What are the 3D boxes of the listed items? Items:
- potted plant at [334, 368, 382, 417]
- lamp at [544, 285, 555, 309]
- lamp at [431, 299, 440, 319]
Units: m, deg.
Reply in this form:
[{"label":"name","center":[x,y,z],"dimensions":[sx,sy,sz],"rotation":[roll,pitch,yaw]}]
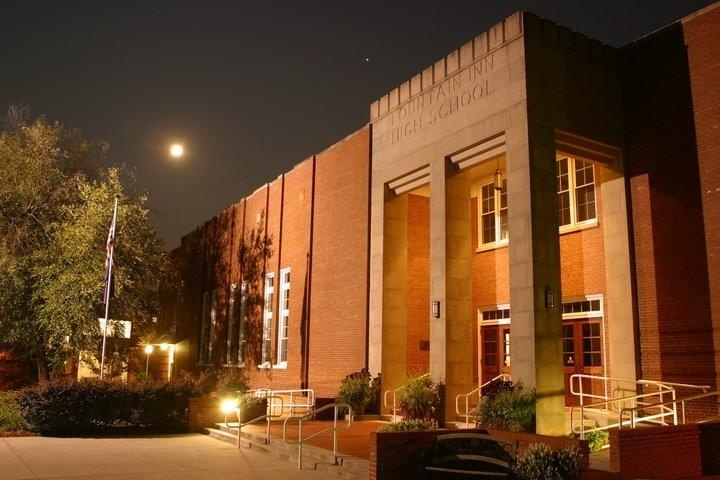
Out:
[{"label":"potted plant","center":[-0.125,6.619,27.284],"dimensions":[2.022,2.652,2.390],"rotation":[1,-12,-1]},{"label":"lamp","center":[6.485,1.963,21.342],"dimensions":[0.474,0.747,0.204],"rotation":[9,-20,-22]},{"label":"lamp","center":[2.925,2.679,24.169],"dimensions":[0.167,0.731,0.482],"rotation":[13,-23,-33]}]
